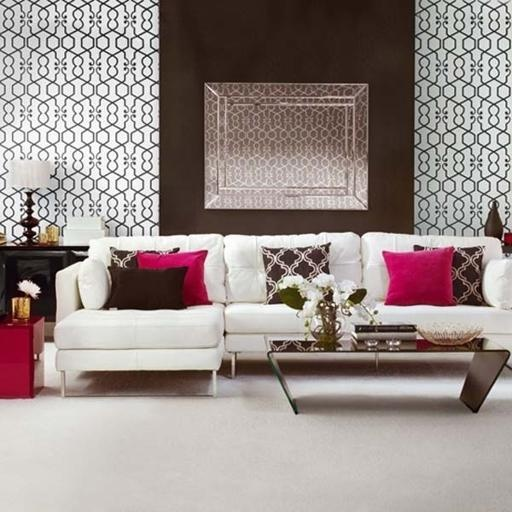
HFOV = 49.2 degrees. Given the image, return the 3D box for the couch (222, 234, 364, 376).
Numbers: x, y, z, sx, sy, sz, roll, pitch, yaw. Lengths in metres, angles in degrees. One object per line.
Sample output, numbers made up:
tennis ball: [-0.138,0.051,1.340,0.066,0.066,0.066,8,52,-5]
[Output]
couch: [0.266,0.343,3.863,0.979,0.911,0.900,-1,-2,-3]

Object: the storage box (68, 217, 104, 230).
storage box: [-1.438,-0.279,4.730,0.284,0.097,0.155,-1,5,-7]

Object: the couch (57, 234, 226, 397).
couch: [-0.681,0.332,3.577,0.936,0.889,1.015,0,-2,-2]

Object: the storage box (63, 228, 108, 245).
storage box: [-1.449,-0.158,4.651,0.244,0.092,0.168,0,-3,-6]

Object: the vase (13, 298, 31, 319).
vase: [-1.348,0.297,3.207,0.095,0.126,0.192,-2,5,-24]

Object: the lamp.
lamp: [-1.929,-0.466,4.828,0.353,0.716,0.465,-2,5,-20]

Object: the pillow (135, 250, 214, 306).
pillow: [-0.573,0.162,3.753,0.480,0.394,0.229,0,-4,8]

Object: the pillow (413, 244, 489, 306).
pillow: [1.412,0.132,3.924,0.168,0.444,0.459,-1,2,2]

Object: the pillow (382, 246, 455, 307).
pillow: [1.077,0.149,3.688,0.366,0.325,0.135,-2,-29,12]

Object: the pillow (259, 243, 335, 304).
pillow: [0.299,0.176,3.818,0.583,0.512,0.209,3,-13,38]

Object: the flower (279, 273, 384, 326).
flower: [0.364,0.237,2.921,0.499,0.253,0.298,6,12,21]
